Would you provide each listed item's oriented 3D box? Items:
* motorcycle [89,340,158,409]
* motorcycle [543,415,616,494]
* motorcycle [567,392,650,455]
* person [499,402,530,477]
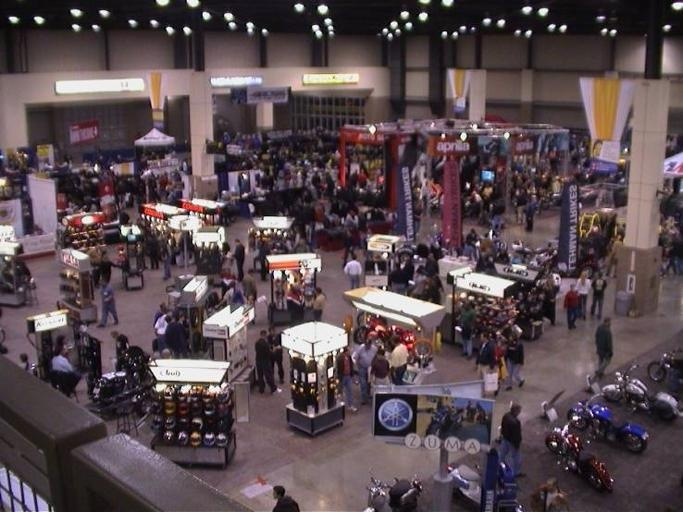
[{"bbox_3d":[-4.481,2.575,12.789,1.105,1.396,1.527,0,13,15],"label":"motorcycle"},{"bbox_3d":[4.251,3.513,10.765,0.525,0.620,1.159,-27,35,-12],"label":"motorcycle"},{"bbox_3d":[5.101,3.167,11.728,0.726,0.707,1.357,-39,36,-22],"label":"motorcycle"},{"bbox_3d":[3.008,3.180,10.855,0.381,1.488,1.094,1,13,17],"label":"person"}]
